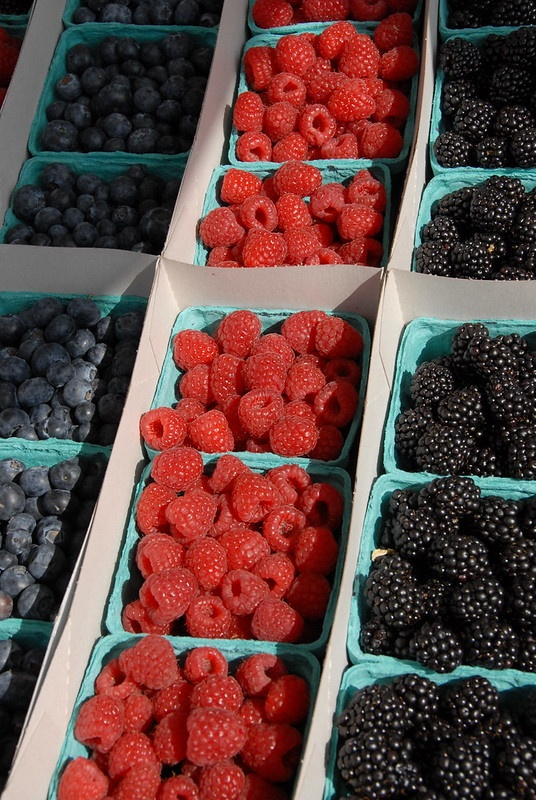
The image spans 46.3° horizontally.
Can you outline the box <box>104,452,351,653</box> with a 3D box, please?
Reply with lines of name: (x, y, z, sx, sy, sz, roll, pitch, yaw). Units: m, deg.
box: (-0.127, 0.439, 1.911, 0.726, 0.287, 0.598, 4, 55, 9)
